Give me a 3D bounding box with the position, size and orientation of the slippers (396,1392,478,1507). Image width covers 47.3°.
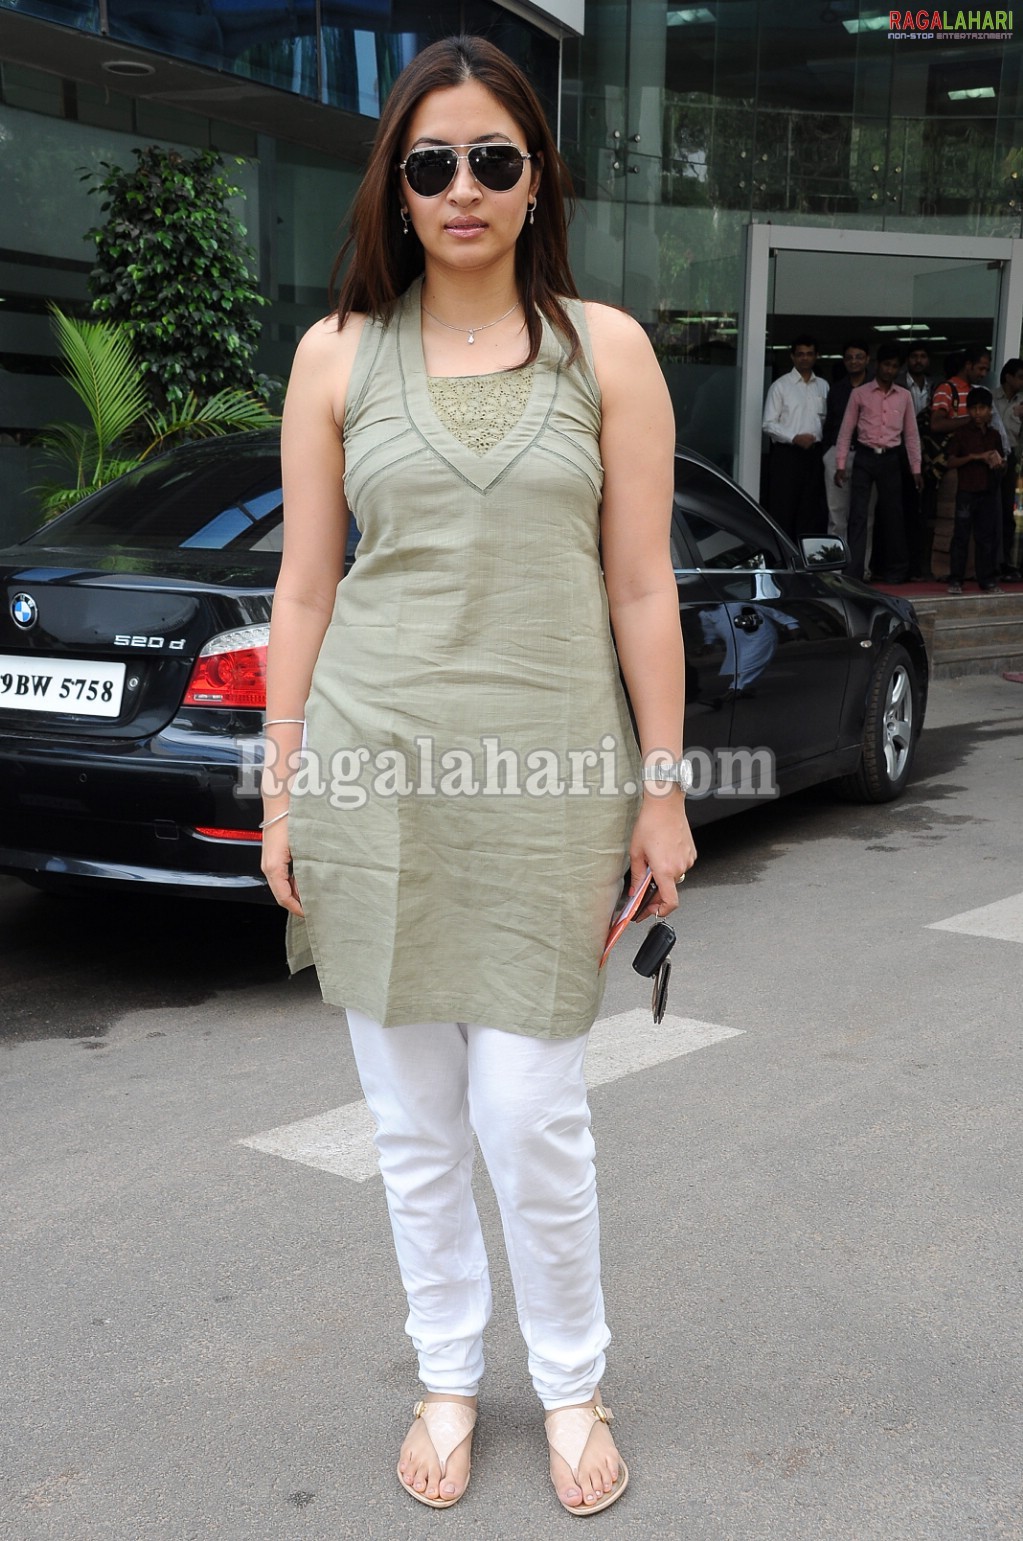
[{"bbox_3d":[-0.099,0.841,1.423,0.048,0.055,0.140,1,-7,2],"label":"slippers"}]

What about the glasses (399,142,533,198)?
[{"bbox_3d":[-0.047,-0.632,1.232,0.127,0.070,0.054,-1,5,-5],"label":"glasses"}]

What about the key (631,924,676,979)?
[{"bbox_3d":[0.169,0.212,1.363,0.021,0.079,0.048,-12,42,-34],"label":"key"}]

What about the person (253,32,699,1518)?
[{"bbox_3d":[-0.064,0.044,1.353,0.463,1.690,0.309,3,5,32],"label":"person"}]

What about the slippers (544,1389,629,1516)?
[{"bbox_3d":[0.101,0.831,1.393,0.051,0.058,0.149,-5,-11,0],"label":"slippers"}]
